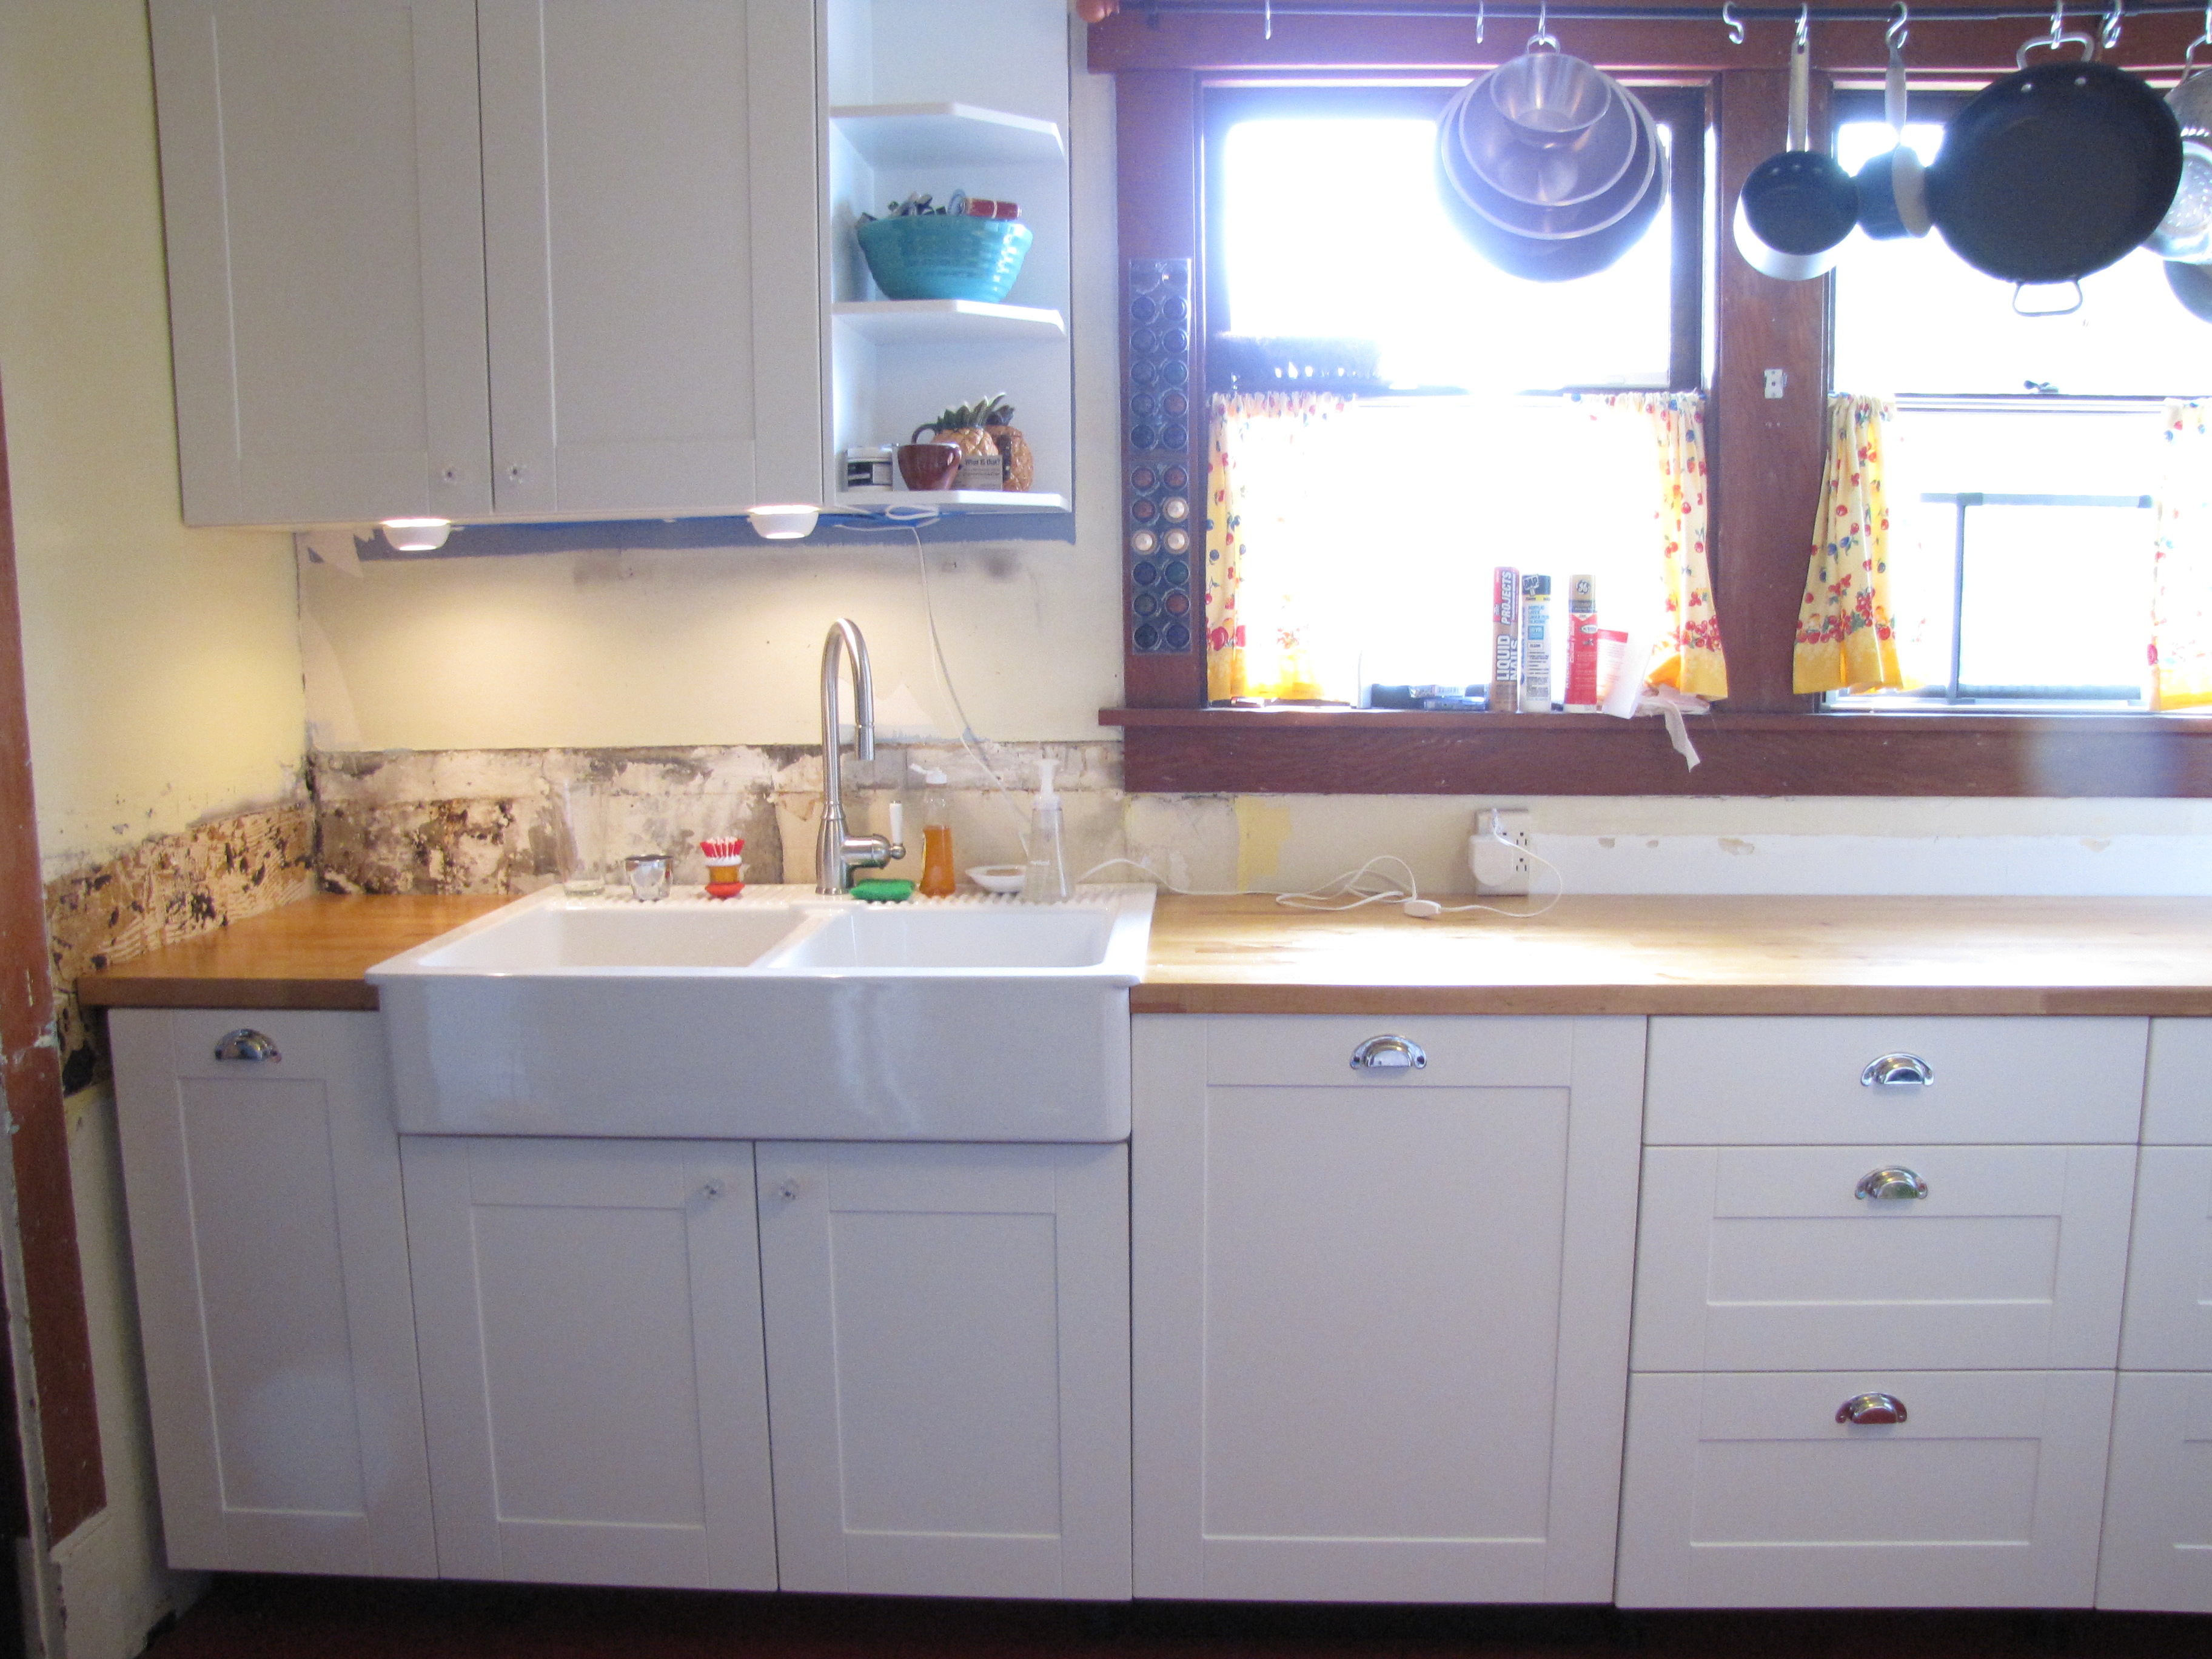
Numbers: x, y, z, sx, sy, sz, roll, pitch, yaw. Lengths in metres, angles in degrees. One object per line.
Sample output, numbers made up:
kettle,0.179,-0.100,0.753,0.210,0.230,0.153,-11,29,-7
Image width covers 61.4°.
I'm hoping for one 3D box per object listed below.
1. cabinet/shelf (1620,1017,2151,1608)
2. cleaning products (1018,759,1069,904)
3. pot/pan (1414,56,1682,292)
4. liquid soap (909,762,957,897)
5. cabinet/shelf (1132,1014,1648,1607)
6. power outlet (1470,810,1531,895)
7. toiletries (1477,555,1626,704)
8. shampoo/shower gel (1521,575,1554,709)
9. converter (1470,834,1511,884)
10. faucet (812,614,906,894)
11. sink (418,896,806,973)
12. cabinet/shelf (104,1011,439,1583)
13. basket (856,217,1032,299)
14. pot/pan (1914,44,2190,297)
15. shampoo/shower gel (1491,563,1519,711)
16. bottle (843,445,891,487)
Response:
cabinet/shelf,1.197,0.662,3.112,0.784,1.025,0.698,-3,15,0
cleaning products,-0.108,0.002,3.302,0.100,0.255,0.092,2,8,21
pot/pan,0.705,-1.027,2.925,0.305,0.369,0.121,0,20,10
liquid soap,-0.310,0.000,3.310,0.076,0.212,0.185,-4,10,-5
cabinet/shelf,0.438,0.657,3.134,0.796,1.022,0.706,2,13,8
power outlet,0.707,0.039,3.309,0.148,0.213,0.109,0,1,3
toiletries,0.799,-0.358,3.294,0.262,0.251,0.063,-1,5,-11
shampoo/shower gel,0.764,-0.329,3.280,0.062,0.238,0.028,-7,11,-23
converter,0.688,0.049,3.305,0.071,0.097,0.053,2,19,11
faucet,-0.438,-0.124,3.262,0.149,0.499,0.142,1,15,-9
sink,-0.843,0.181,3.167,0.629,0.106,0.292,-6,11,-18
cabinet/shelf,-1.305,0.694,3.131,0.448,0.890,0.525,-5,0,9
basket,-0.260,-0.940,3.072,0.178,0.069,0.181,4,6,38
pot/pan,1.377,-0.948,2.697,0.342,0.299,0.059,-1,11,8
shampoo/shower gel,0.704,-0.334,3.276,0.051,0.248,0.023,-1,11,11
bottle,-0.395,-0.592,3.031,0.072,0.055,0.026,-3,-1,-10
